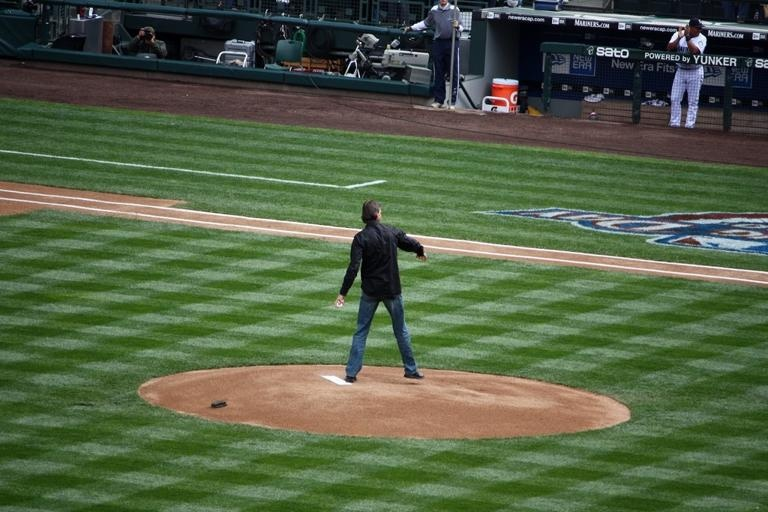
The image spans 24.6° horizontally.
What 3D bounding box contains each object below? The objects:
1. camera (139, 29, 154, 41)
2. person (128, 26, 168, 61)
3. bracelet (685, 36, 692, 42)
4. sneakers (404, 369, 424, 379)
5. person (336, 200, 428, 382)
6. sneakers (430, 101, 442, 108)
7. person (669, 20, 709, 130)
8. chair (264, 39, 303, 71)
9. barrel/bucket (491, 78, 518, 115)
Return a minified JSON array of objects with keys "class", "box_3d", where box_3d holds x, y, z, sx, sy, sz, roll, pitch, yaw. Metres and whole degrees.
[{"class":"camera","box_3d":[-6.619,-6.084,48.576,0.450,0.331,0.354,-2,7,-12]},{"class":"person","box_3d":[-6.612,-5.906,48.812,1.027,0.814,0.792,1,8,-17]},{"class":"bracelet","box_3d":[7.617,-5.440,44.088,0.130,0.096,0.192,-2,4,3]},{"class":"sneakers","box_3d":[0.477,2.062,30.677,0.377,0.144,0.119,-1,26,-9]},{"class":"person","box_3d":[-0.163,0.621,30.629,1.562,3.114,0.985,1,9,-22]},{"class":"sneakers","box_3d":[1.342,-3.985,46.438,0.198,0.181,0.488,4,-7,-3]},{"class":"person","box_3d":[7.604,-4.608,44.534,0.898,2.778,0.953,6,8,8]},{"class":"chair","box_3d":[-2.644,-5.531,48.812,1.049,1.120,1.051,6,7,21]},{"class":"barrel/bucket","box_3d":[3.223,-4.262,46.793,0.995,0.776,0.875,0,10,-1]}]
